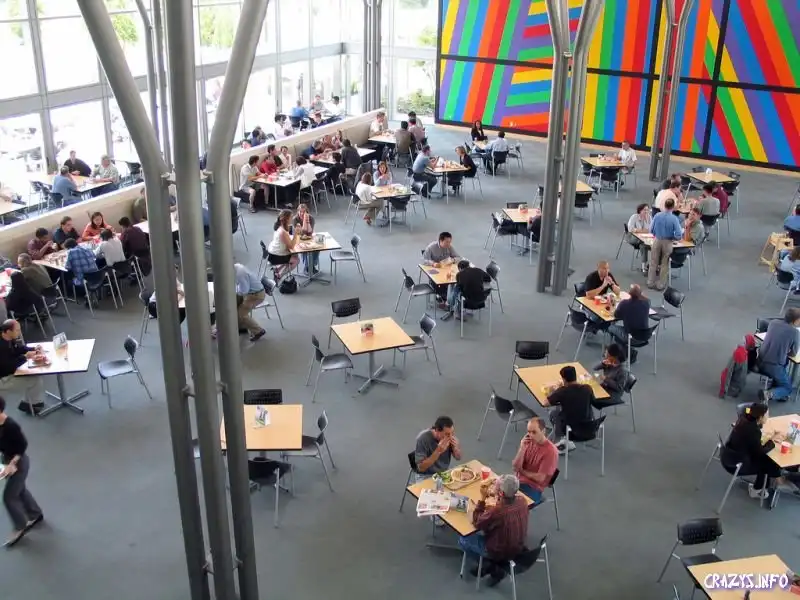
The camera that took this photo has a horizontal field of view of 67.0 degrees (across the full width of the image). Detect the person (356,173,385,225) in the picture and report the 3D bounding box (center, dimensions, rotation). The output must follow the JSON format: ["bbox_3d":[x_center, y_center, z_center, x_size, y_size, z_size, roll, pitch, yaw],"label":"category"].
[{"bbox_3d":[-0.844,-2.737,16.651,0.649,1.479,0.997,3,18,8],"label":"person"}]

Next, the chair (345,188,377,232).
[{"bbox_3d":[-1.077,-2.794,16.886,0.899,1.369,0.802,-18,47,-23],"label":"chair"}]

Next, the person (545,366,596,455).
[{"bbox_3d":[2.511,1.612,9.019,0.609,1.355,0.802,-10,20,-18],"label":"person"}]

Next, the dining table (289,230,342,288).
[{"bbox_3d":[-1.888,-1.082,14.061,1.173,1.245,1.222,-14,38,-20],"label":"dining table"}]

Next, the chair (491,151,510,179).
[{"bbox_3d":[3.333,-4.736,20.523,0.493,0.897,0.619,-3,42,0],"label":"chair"}]

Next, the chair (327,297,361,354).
[{"bbox_3d":[-1.032,0.520,11.282,0.601,1.189,0.757,-7,28,-19],"label":"chair"}]

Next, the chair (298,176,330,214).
[{"bbox_3d":[-2.590,-3.131,18.327,0.703,0.822,1.103,-23,14,-40],"label":"chair"}]

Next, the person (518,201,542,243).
[{"bbox_3d":[3.179,-1.652,14.762,0.464,0.817,1.374,4,18,10],"label":"person"}]

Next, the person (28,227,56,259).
[{"bbox_3d":[-7.577,-1.164,12.756,0.397,0.741,0.365,17,34,7],"label":"person"}]

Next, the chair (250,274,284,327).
[{"bbox_3d":[-2.866,0.123,12.393,0.637,0.885,0.861,-16,19,-27],"label":"chair"}]

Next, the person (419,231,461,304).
[{"bbox_3d":[0.891,-0.684,13.214,0.660,1.692,0.871,-15,29,-27],"label":"person"}]

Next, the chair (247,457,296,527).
[{"bbox_3d":[-1.747,2.397,8.239,0.521,0.986,0.806,-2,18,-9],"label":"chair"}]

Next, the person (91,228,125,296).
[{"bbox_3d":[-6.380,-0.977,12.991,0.706,1.327,0.507,22,32,14],"label":"person"}]

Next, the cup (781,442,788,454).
[{"bbox_3d":[5.243,2.021,8.239,0.091,0.119,0.115,6,15,24],"label":"cup"}]

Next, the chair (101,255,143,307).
[{"bbox_3d":[-6.030,-0.384,13.050,0.547,0.828,0.586,26,42,19],"label":"chair"}]

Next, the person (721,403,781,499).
[{"bbox_3d":[4.937,2.160,8.462,0.744,1.473,0.629,0,12,1],"label":"person"}]

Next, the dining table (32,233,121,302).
[{"bbox_3d":[-6.555,-0.512,12.768,1.453,0.709,1.484,27,46,28],"label":"dining table"}]

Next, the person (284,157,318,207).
[{"bbox_3d":[-2.869,-3.395,17.933,0.780,1.248,1.797,-2,18,-9],"label":"person"}]

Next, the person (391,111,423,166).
[{"bbox_3d":[0.316,-5.676,21.515,0.877,1.844,1.503,6,18,15],"label":"person"}]

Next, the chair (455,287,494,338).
[{"bbox_3d":[1.524,0.156,12.492,0.745,1.033,0.755,-12,24,-27],"label":"chair"}]

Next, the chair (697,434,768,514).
[{"bbox_3d":[4.756,2.516,8.593,0.646,0.961,0.612,-11,31,-3],"label":"chair"}]

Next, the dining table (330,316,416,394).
[{"bbox_3d":[-0.565,0.926,10.773,1.143,1.162,1.452,-7,20,-25],"label":"dining table"}]

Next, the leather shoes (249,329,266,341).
[{"bbox_3d":[-2.806,0.721,11.933,0.366,0.143,0.122,-50,24,-19],"label":"leather shoes"}]

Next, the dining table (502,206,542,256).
[{"bbox_3d":[3.098,-1.549,15.304,0.809,0.461,1.334,-7,31,-13],"label":"dining table"}]

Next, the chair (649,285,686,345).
[{"bbox_3d":[5.367,0.300,12.265,0.680,0.887,0.731,-25,27,-35],"label":"chair"}]

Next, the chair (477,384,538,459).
[{"bbox_3d":[1.666,1.696,9.657,0.816,1.056,0.795,-20,21,-14],"label":"chair"}]

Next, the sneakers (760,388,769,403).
[{"bbox_3d":[5.975,1.579,9.915,0.083,0.295,0.109,13,16,34],"label":"sneakers"}]

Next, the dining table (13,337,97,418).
[{"bbox_3d":[-5.442,1.160,10.040,1.139,1.157,1.214,-2,36,-6],"label":"dining table"}]

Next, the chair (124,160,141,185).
[{"bbox_3d":[-8.212,-3.894,18.619,0.441,0.645,1.297,-7,20,-24],"label":"chair"}]

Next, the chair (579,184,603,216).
[{"bbox_3d":[5.551,-2.851,17.622,0.532,0.976,0.695,20,50,26],"label":"chair"}]

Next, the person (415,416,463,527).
[{"bbox_3d":[0.527,2.242,8.128,0.591,1.378,0.674,-9,9,-26],"label":"person"}]

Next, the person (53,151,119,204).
[{"bbox_3d":[-8.553,-3.184,16.531,1.384,0.506,2.020,-31,55,-29],"label":"person"}]

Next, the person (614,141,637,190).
[{"bbox_3d":[7.225,-4.321,19.567,0.798,1.524,0.723,-14,18,-26],"label":"person"}]

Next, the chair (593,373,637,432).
[{"bbox_3d":[3.401,1.659,9.639,0.619,0.824,0.581,-8,28,-9],"label":"chair"}]
